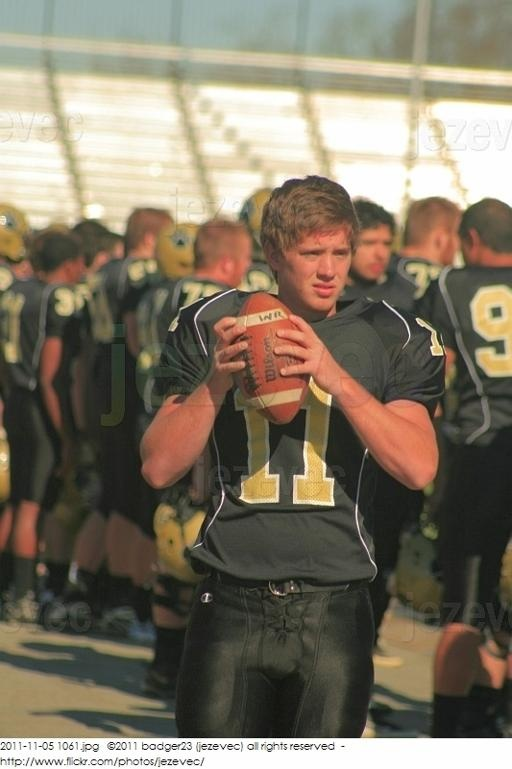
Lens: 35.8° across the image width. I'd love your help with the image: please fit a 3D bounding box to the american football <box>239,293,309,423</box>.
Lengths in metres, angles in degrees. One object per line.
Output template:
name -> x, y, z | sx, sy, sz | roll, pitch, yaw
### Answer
american football -> 0.033, -0.059, 1.600 | 0.152, 0.228, 0.085 | 5, -2, 7
